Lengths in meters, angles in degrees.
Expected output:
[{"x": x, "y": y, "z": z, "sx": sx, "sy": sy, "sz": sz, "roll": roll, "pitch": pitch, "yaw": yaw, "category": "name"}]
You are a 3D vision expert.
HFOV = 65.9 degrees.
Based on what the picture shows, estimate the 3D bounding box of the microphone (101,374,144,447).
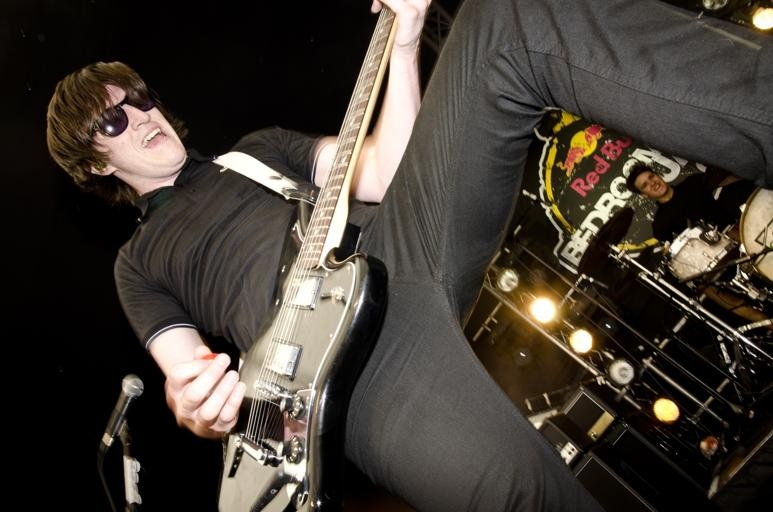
[{"x": -1.458, "y": 0.781, "z": 3.242, "sx": 0.157, "sy": 0.152, "sz": 0.521, "roll": -11, "pitch": -50, "yaw": -55, "category": "microphone"}]
